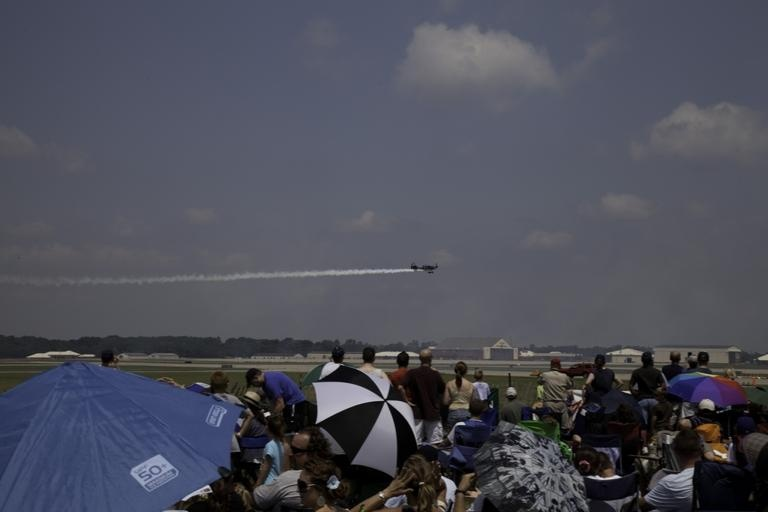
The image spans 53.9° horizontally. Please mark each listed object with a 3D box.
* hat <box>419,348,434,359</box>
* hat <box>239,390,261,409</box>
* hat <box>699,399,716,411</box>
[{"bbox_3d":[0.886,2.065,15.992,0.194,0.223,0.228,7,34,4],"label":"hat"},{"bbox_3d":[-2.402,2.497,13.331,0.297,0.128,0.305,21,4,44],"label":"hat"},{"bbox_3d":[6.383,2.947,14.892,0.251,0.186,0.362,2,-17,32],"label":"hat"}]
